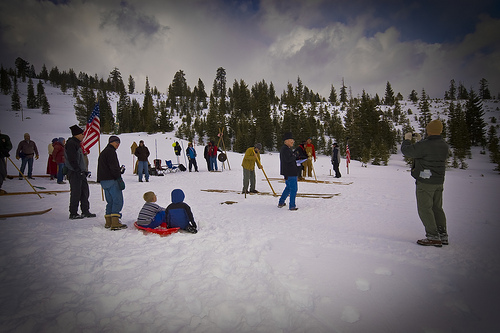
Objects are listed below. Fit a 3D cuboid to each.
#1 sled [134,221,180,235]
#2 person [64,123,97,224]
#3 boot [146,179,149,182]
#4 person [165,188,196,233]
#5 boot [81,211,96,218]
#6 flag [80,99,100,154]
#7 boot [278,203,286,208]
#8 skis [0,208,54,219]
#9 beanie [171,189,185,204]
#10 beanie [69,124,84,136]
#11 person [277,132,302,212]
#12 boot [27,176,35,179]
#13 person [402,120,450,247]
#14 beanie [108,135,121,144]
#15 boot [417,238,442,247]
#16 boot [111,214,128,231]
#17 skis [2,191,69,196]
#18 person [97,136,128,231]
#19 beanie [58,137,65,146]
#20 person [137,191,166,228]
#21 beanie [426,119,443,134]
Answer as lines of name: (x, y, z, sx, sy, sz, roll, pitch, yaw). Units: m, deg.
sled: (-2.813, 1.956, 9.806, 0.858, 0.219, 0.532, 3, 4, 22)
person: (-5.873, 0.186, 10.709, 0.747, 3.186, 0.702, -4, 5, -35)
boot: (-6.107, 0.819, 18.764, 0.079, 0.135, 0.124, 1, -1, 29)
person: (-2.226, 1.351, 10.194, 0.953, 1.554, 0.815, -2, 10, -5)
boot: (-5.617, 1.636, 10.976, 0.494, 0.249, 0.168, 4, 5, -45)
flag: (-6.794, -1.824, 13.431, 0.871, 2.727, 0.286, 7, 31, -33)
boot: (1.260, 1.530, 12.478, 0.315, 0.157, 0.110, -16, 1, 22)
skis: (-7.799, 1.628, 10.994, 0.147, 0.159, 1.441, 17, 8, 29)
beanie: (-2.311, 0.894, 9.835, 0.430, 0.465, 0.305, -10, 15, -44)
beanie: (-5.991, -1.270, 10.989, 0.460, 0.498, 0.421, -7, 8, -28)
person: (1.541, 0.147, 12.422, 0.941, 3.054, 0.922, -1, 1, -37)
boot: (-11.846, 0.570, 17.085, 0.307, 0.226, 0.112, -6, 26, -35)
person: (5.137, 0.465, 9.048, 1.027, 3.568, 0.574, -2, 4, -1)
beanie: (-4.530, -0.926, 10.491, 0.339, 0.307, 0.249, -16, 16, -36)
boot: (5.101, 2.156, 8.959, 0.503, 0.239, 0.248, 4, -5, 20)
boot: (-4.244, 1.773, 10.221, 0.497, 0.548, 0.276, 0, -2, -27)
skis: (-9.527, 1.168, 13.917, 1.774, 0.093, 0.067, 8, -3, -39)
person: (-4.436, 0.499, 10.134, 0.807, 2.966, 0.952, -4, 5, -30)
beanie: (-10.106, -1.366, 16.897, 0.269, 0.405, 0.791, -4, 5, -30)
person: (-3.179, 1.403, 10.330, 0.756, 1.212, 1.056, 1, -2, 16)
beanie: (5.260, -1.133, 8.965, 0.327, 0.425, 0.500, 1, -2, 5)
